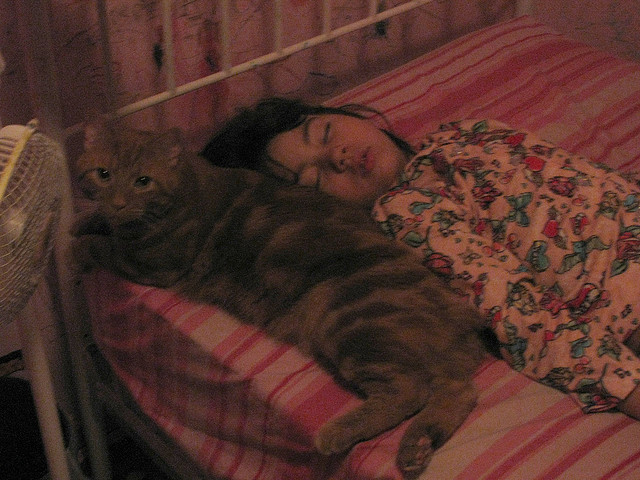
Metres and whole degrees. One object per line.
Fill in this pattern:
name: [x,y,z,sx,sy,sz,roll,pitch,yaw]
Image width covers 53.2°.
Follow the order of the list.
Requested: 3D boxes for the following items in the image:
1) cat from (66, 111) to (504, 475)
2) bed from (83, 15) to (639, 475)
cat: [-0.148,0.151,1.287,0.835,0.297,0.562,24,40,5]
bed: [0.279,-0.122,1.631,1.009,0.587,1.681,13,34,15]
